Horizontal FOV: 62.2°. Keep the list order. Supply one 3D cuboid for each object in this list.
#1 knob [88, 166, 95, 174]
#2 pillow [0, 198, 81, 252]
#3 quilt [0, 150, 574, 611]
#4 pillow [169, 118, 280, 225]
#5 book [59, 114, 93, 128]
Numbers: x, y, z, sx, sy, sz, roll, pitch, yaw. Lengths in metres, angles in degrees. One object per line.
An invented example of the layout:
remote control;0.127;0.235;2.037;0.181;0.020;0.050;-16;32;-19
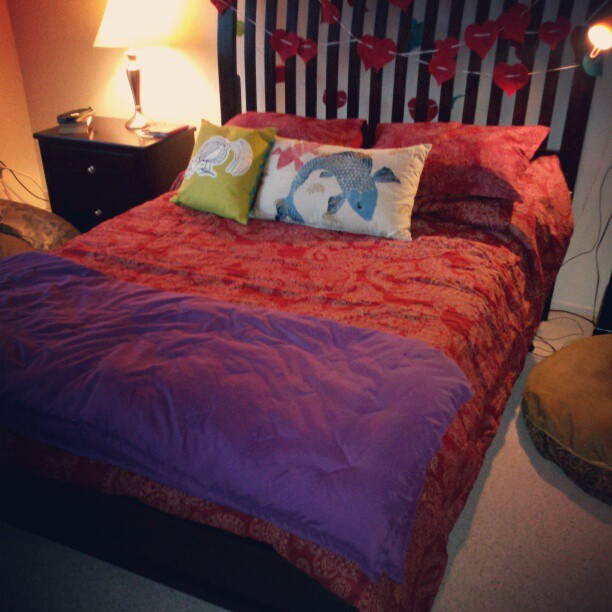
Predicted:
knob;-1.086;-0.692;2.581;0.024;0.036;0.015;17;16;17
pillow;-1.261;-0.378;2.386;0.344;0.068;0.287;31;30;4
quilt;0.169;0.012;1.456;1.154;0.628;1.475;13;40;19
pillow;-0.298;-0.519;1.975;0.369;0.423;0.116;14;-5;37
book;-1.212;-0.958;2.668;0.095;0.028;0.113;1;26;2
